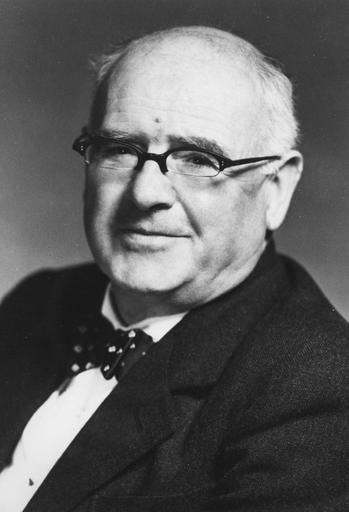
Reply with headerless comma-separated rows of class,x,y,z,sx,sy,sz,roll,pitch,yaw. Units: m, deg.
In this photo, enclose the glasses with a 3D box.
glasses,-0.014,-0.227,1.285,0.492,0.086,0.119,2,20,10
